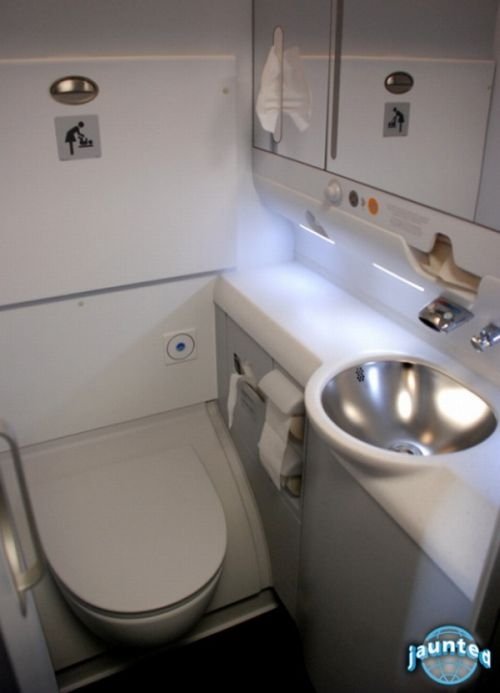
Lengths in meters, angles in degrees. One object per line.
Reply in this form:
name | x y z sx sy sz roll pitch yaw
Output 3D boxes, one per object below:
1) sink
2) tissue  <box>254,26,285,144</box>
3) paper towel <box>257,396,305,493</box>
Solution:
sink | 0.295 0.169 1.101 0.350 0.156 0.386 -11 29 -20
tissue  | 0.060 -0.771 1.491 0.043 0.339 0.144 -20 50 -25
paper towel | 0.080 0.271 1.400 0.071 0.257 0.160 -17 29 -33
